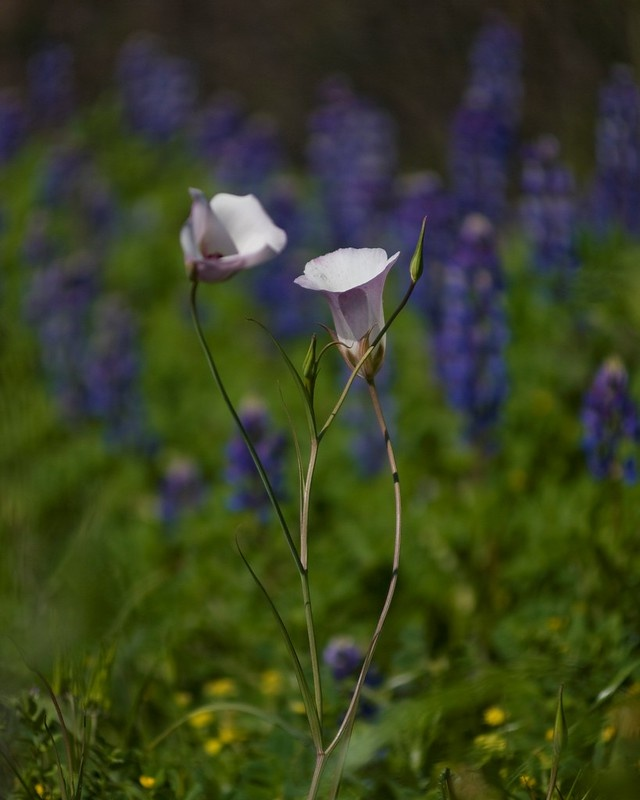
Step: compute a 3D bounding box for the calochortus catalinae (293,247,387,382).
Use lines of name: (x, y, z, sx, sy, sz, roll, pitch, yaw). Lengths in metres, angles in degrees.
calochortus catalinae: (0.045, -0.093, 1.354, 0.106, 0.155, 0.134, 1, 32, 16)

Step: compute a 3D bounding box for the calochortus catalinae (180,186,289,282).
calochortus catalinae: (-0.092, -0.188, 1.320, 0.098, 0.105, 0.106, -1, 20, 15)
